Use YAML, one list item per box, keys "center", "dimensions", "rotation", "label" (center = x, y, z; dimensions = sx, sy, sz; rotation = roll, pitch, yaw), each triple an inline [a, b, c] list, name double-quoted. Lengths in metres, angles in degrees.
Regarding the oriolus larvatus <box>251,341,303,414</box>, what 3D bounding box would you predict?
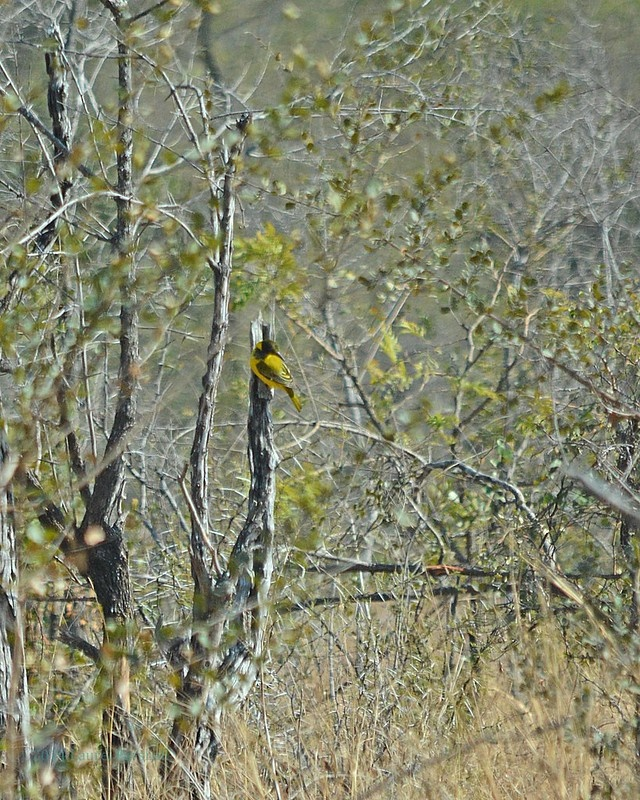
- center: [-0.315, -0.197, 11.593]
  dimensions: [0.193, 0.531, 0.266]
  rotation: [-25, -33, -56]
  label: "oriolus larvatus"
